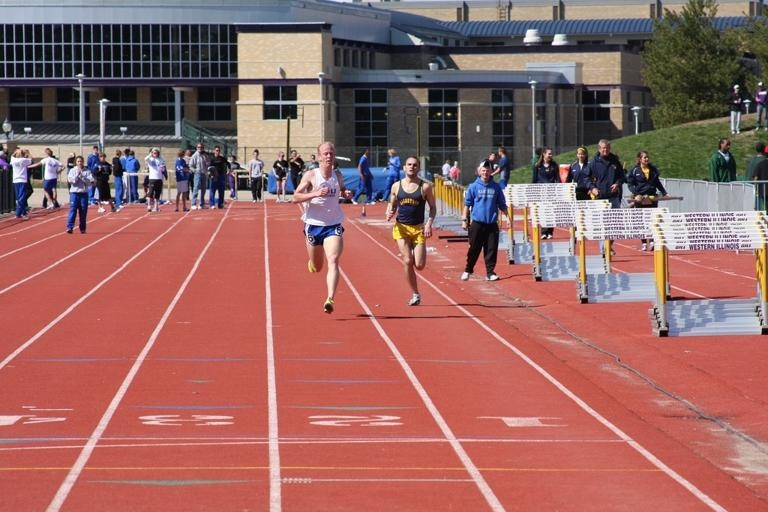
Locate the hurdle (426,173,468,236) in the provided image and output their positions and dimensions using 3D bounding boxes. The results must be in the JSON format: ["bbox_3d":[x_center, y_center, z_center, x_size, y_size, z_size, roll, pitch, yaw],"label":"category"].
[{"bbox_3d":[1.665,-1.331,32.732,0.507,0.625,2.806,-2,6,-11],"label":"hurdle"}]

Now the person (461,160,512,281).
[{"bbox_3d":[1.808,-0.663,23.153,1.054,1.945,1.051,0,1,-9],"label":"person"}]

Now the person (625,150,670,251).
[{"bbox_3d":[5.423,-1.186,25.448,1.074,1.928,0.704,-3,2,-10],"label":"person"}]

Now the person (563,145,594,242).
[{"bbox_3d":[4.026,-1.668,25.676,0.503,1.128,0.501,0,1,-2],"label":"person"}]
